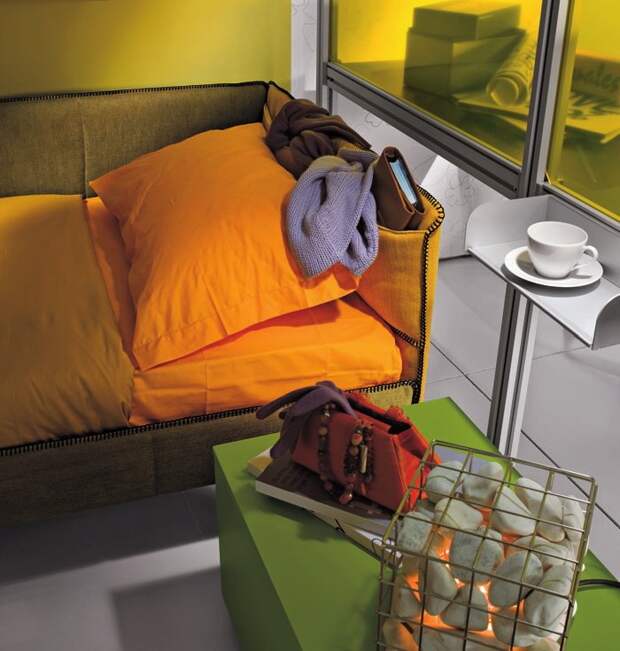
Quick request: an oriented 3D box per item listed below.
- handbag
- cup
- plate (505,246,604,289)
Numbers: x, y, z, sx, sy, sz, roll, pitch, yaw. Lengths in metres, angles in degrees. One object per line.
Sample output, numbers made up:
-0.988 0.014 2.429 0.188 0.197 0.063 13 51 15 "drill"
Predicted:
0.058 0.157 0.829 0.208 0.137 0.117 21 45 28 "handbag"
0.354 -0.105 0.816 0.095 0.067 0.084 -23 36 -32 "cup"
0.357 -0.080 0.834 0.082 0.016 0.087 24 37 17 "plate"
